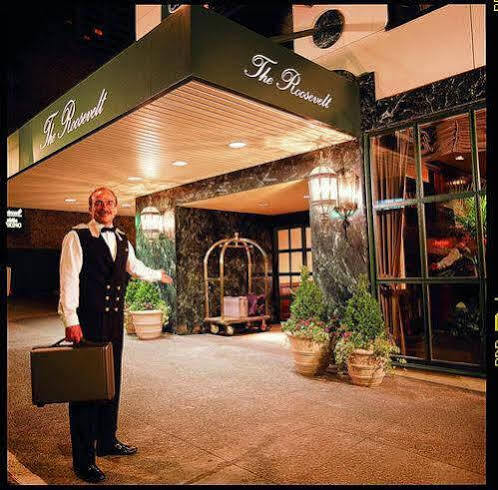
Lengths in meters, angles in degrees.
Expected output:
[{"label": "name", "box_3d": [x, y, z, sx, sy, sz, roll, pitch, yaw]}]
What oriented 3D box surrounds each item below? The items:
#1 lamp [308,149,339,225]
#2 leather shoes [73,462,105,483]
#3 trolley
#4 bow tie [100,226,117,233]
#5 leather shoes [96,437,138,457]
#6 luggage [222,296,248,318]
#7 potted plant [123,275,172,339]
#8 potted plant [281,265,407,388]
[{"label": "lamp", "box_3d": [1.014, -0.794, 5.329, 0.399, 0.929, 0.459, -2, -3, 12]}, {"label": "leather shoes", "box_3d": [-0.979, 1.407, 2.403, 0.223, 0.097, 0.080, -8, -14, 32]}, {"label": "trolley", "box_3d": [-0.186, 0.830, 8.893, 1.241, 2.227, 2.297, -3, -4, 29]}, {"label": "bow tie", "box_3d": [-0.986, -0.106, 2.736, 0.040, 0.023, 0.122, 14, -2, -2]}, {"label": "leather shoes", "box_3d": [-0.935, 1.437, 2.837, 0.316, 0.138, 0.109, 1, -6, -15]}, {"label": "luggage", "box_3d": [-0.287, 1.326, 8.324, 0.503, 0.435, 0.386, -1, -3, 0]}, {"label": "potted plant", "box_3d": [-2.106, 1.301, 8.069, 1.052, 1.272, 1.074, 1, -5, -12]}, {"label": "potted plant", "box_3d": [0.975, 0.945, 4.683, 0.996, 1.320, 1.275, 0, -3, -16]}]
